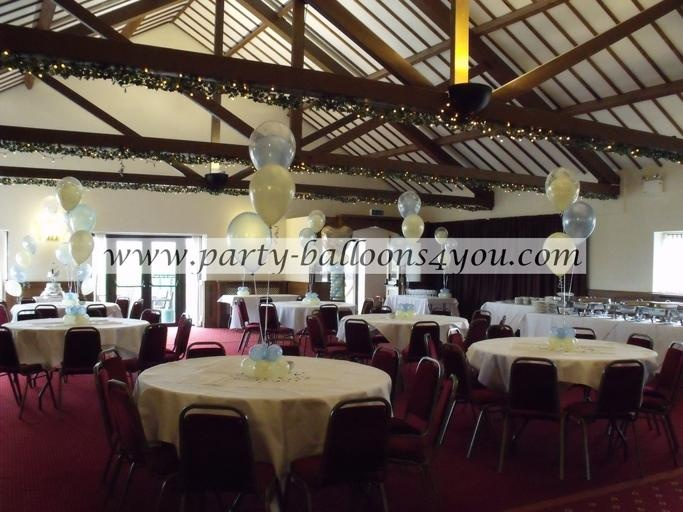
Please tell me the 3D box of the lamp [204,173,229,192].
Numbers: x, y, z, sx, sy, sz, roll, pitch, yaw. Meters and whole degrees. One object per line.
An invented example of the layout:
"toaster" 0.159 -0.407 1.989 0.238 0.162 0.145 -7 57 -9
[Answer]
"lamp" -2.434 -1.435 10.766 0.412 0.369 0.554 2 -1 -16
